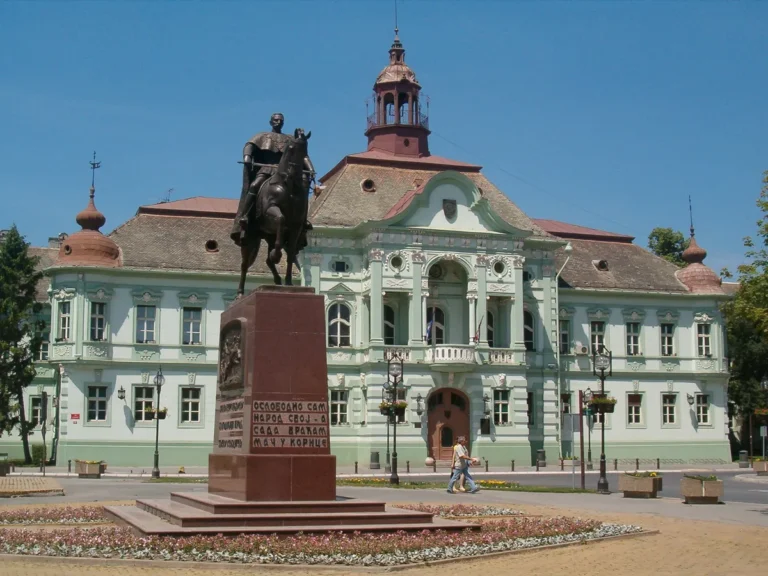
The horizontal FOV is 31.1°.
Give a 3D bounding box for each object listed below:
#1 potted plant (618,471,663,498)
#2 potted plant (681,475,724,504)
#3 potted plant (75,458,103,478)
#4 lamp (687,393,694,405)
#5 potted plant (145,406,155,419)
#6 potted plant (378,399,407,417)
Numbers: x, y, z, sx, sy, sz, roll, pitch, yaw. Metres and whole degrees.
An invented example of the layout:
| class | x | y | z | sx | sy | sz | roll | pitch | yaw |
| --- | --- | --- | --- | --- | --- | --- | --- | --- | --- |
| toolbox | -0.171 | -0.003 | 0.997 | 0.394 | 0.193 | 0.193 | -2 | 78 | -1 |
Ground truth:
| class | x | y | z | sx | sy | sz | roll | pitch | yaw |
| --- | --- | --- | --- | --- | --- | --- | --- | --- | --- |
| potted plant | 10.437 | 7.935 | 56.287 | 1.640 | 1.061 | 0.804 | -2 | -12 | 6 |
| potted plant | 12.487 | 7.858 | 54.406 | 1.258 | 0.786 | 1.290 | -3 | -4 | 23 |
| potted plant | -14.028 | 8.532 | 66.145 | 0.932 | 0.718 | 1.183 | 4 | -9 | -29 |
| lamp | 18.950 | 6.780 | 85.359 | 0.533 | 0.749 | 0.183 | 7 | -14 | -32 |
| potted plant | -12.640 | 6.697 | 74.915 | 0.741 | 0.701 | 0.572 | 3 | -12 | -15 |
| potted plant | 0.413 | 5.603 | 67.431 | 1.141 | 0.566 | 1.099 | 7 | -14 | -28 |
